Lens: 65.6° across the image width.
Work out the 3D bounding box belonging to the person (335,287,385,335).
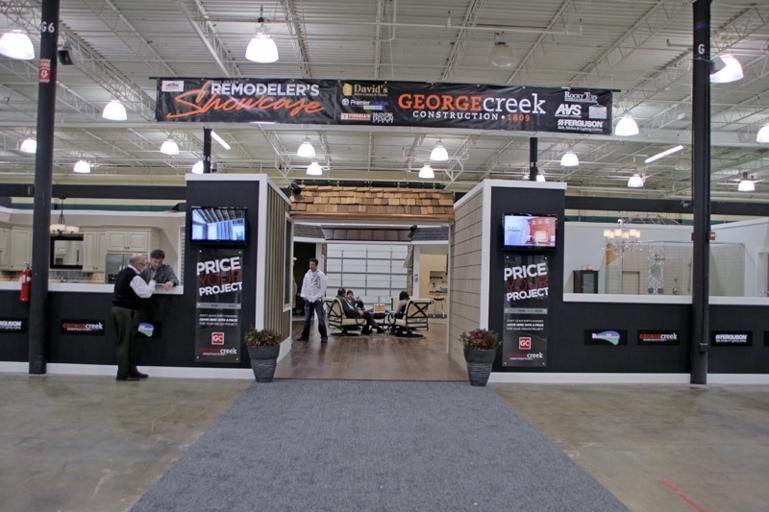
[{"bbox_3d":[-0.735,1.456,15.797,1.230,1.329,1.121,-2,-1,-12],"label":"person"}]

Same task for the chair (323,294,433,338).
[{"bbox_3d":[-0.173,1.590,15.658,2.653,1.178,1.089,1,10,-2],"label":"chair"}]

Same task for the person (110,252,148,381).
[{"bbox_3d":[-4.294,1.150,10.114,0.580,1.918,0.373,-4,12,-25],"label":"person"}]

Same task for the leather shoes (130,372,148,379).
[{"bbox_3d":[-4.225,2.057,10.237,0.283,0.195,0.096,0,0,-18],"label":"leather shoes"}]

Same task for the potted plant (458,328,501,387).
[{"bbox_3d":[1.781,1.795,10.481,0.806,0.986,0.884,-1,-6,21],"label":"potted plant"}]

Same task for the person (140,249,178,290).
[{"bbox_3d":[-4.021,0.293,10.441,0.635,0.716,0.853,5,19,-27],"label":"person"}]

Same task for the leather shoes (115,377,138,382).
[{"bbox_3d":[-4.368,2.114,10.107,0.372,0.150,0.123,0,-7,-7],"label":"leather shoes"}]

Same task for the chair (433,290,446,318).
[{"bbox_3d":[1.977,1.760,21.914,0.444,0.834,0.766,2,10,2],"label":"chair"}]
